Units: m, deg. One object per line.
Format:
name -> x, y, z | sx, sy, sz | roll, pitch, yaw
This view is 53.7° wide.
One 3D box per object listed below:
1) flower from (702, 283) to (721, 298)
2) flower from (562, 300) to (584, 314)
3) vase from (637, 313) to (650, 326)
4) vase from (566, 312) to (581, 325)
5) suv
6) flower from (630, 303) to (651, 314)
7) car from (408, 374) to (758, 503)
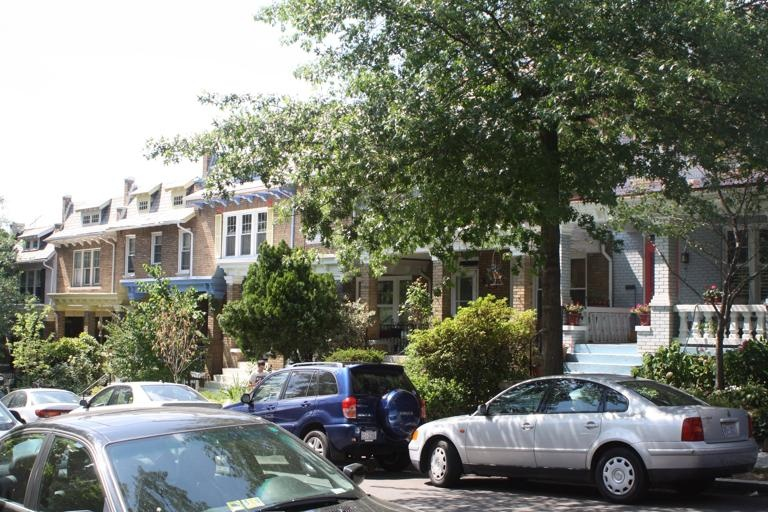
flower -> 9.152, 0.965, 21.231 | 0.280, 0.272, 0.279 | 12, -14, -19
flower -> 5.776, 1.611, 23.800 | 0.671, 0.383, 0.681 | 1, -1, 40
vase -> 7.819, 1.913, 22.994 | 0.378, 0.309, 0.392 | -1, -4, -1
vase -> 5.890, 1.950, 23.641 | 0.385, 0.300, 0.379 | 10, -14, -42
suv -> -0.647, 3.204, 16.015 | 4.068, 1.645, 2.038 | -2, -7, 44
flower -> 7.795, 1.622, 23.179 | 0.484, 0.296, 0.539 | 4, -9, -34
car -> 3.391, 2.960, 13.905 | 5.475, 1.806, 2.366 | -6, -11, 38
